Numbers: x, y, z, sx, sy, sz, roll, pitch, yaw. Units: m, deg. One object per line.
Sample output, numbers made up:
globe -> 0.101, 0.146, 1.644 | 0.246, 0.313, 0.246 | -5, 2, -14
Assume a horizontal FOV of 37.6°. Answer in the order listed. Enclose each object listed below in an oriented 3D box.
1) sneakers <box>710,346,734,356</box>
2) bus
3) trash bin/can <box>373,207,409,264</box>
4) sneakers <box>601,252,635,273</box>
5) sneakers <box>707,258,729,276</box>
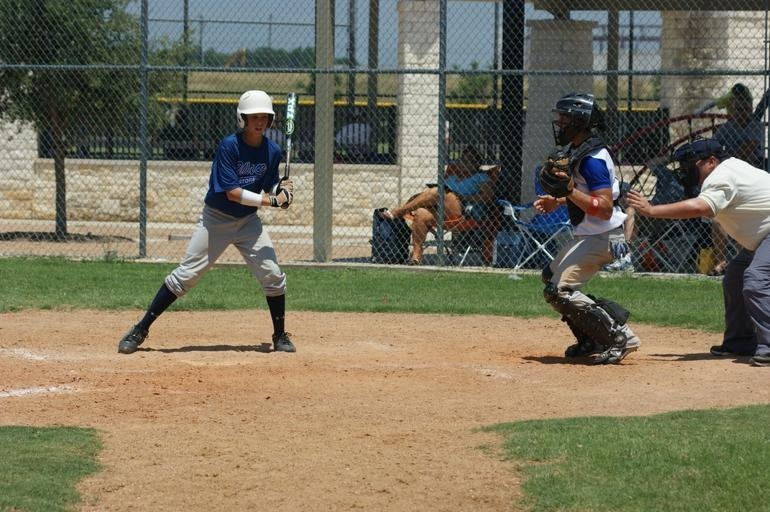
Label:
sneakers -> 3.989, 1.129, 13.345 | 0.235, 0.104, 0.095 | 1, -3, 20
bus -> -0.002, -2.675, 25.055 | 10.144, 1.940, 0.321 | -2, 40, -19
trash bin/can -> 0.094, -0.304, 18.495 | 0.641, 0.851, 0.412 | 0, 0, -11
sneakers -> 3.184, 0.099, 15.505 | 0.484, 0.185, 0.272 | -5, 9, 9
sneakers -> 5.148, 0.189, 17.395 | 0.291, 0.129, 0.444 | 2, 29, 13
